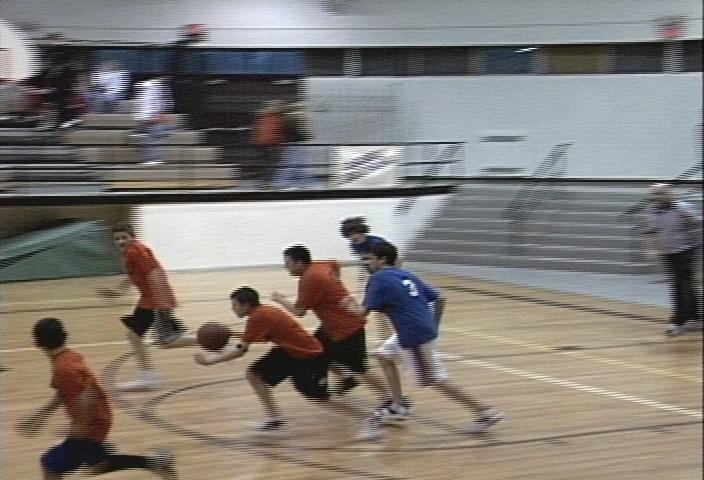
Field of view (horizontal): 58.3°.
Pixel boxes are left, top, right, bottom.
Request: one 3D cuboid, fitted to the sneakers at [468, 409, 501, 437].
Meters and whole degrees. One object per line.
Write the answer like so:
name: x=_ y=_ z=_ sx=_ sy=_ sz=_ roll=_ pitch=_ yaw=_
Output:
sneakers: x=0.490 y=0.656 z=2.276 sx=0.103 sy=0.092 sz=0.055 roll=2 pitch=13 yaw=6
